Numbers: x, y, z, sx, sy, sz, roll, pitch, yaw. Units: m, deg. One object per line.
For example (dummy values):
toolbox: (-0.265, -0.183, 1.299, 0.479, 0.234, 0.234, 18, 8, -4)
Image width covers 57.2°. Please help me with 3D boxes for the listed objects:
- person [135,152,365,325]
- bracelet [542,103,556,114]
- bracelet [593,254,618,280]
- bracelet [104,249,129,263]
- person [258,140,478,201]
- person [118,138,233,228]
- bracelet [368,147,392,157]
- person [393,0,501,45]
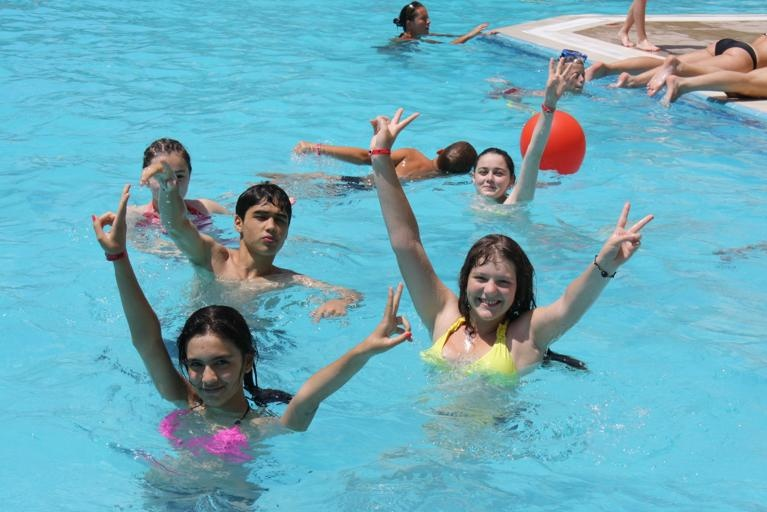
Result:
person: (-1.211, -0.123, 6.367, 2.063, 0.591, 0.789, 16, 62, -28)
bracelet: (1.446, -1.303, 6.221, 0.105, 0.037, 0.105, -5, 31, -35)
bracelet: (1.399, 0.070, 4.483, 0.143, 0.177, 0.092, 10, 32, 12)
bracelet: (-1.736, -0.003, 4.576, 0.119, 0.111, 0.152, -7, 29, -18)
person: (-0.088, -0.996, 8.740, 0.892, 0.688, 2.797, 13, -5, -43)
person: (-2.027, -0.687, 6.853, 1.600, 0.689, 0.603, -4, 5, -32)
bracelet: (-0.028, -0.730, 4.903, 0.136, 0.081, 0.175, 1, 26, -3)
person: (1.022, -4.066, 12.406, 1.602, 0.472, 0.922, 0, 25, 0)
